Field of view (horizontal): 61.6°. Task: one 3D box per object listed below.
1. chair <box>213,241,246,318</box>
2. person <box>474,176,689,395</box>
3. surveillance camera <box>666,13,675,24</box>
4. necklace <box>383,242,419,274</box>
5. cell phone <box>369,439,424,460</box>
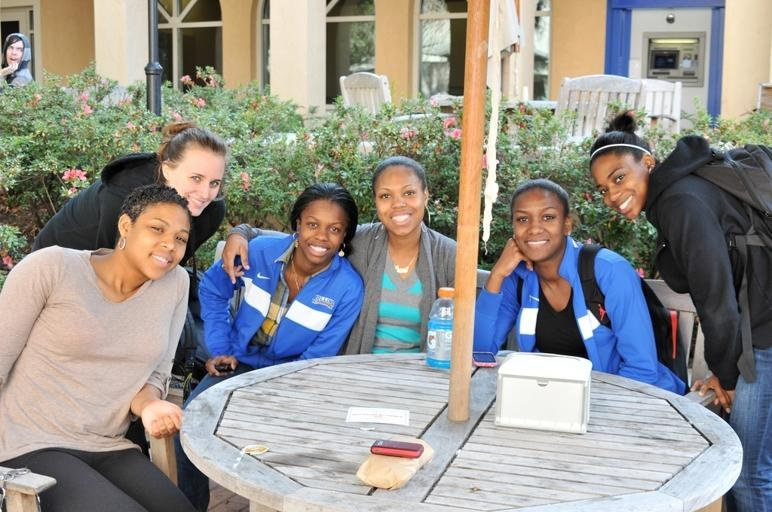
[{"bbox_3d":[-0.964,0.157,3.999,0.249,0.455,0.259,9,31,2],"label":"chair"},{"bbox_3d":[1.112,0.317,3.744,1.193,1.411,1.099,-3,-9,8],"label":"person"},{"bbox_3d":[4.688,-3.927,10.723,0.132,0.156,0.043,2,4,16],"label":"surveillance camera"},{"bbox_3d":[0.090,0.017,3.935,0.186,0.182,0.044,-1,-5,1],"label":"necklace"},{"bbox_3d":[0.036,0.704,2.388,0.133,0.031,0.077,2,2,2],"label":"cell phone"}]
